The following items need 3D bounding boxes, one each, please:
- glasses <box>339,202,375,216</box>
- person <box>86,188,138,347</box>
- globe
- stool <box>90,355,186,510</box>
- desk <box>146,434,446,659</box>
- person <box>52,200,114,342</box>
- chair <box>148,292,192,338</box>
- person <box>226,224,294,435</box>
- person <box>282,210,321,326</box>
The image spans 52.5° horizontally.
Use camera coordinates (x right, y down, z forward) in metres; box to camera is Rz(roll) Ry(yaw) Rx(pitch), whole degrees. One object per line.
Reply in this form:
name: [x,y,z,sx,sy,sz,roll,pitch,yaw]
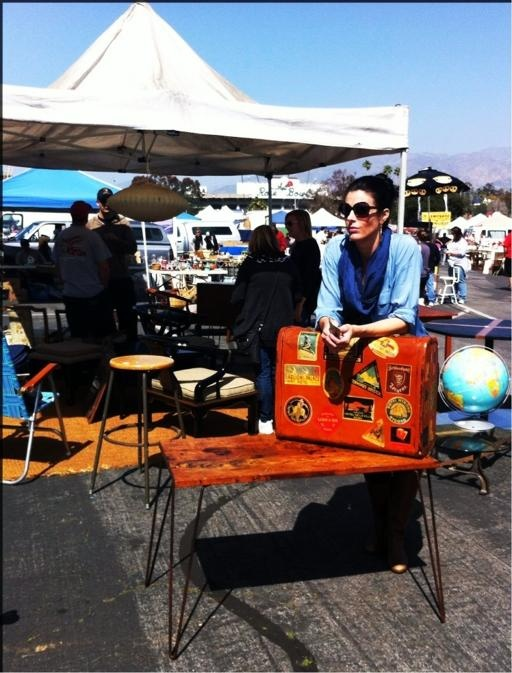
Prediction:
glasses: [0.413,-0.527,2.157,0.085,0.033,0.084,2,-1,42]
person: [-2.108,-0.836,7.484,0.774,2.392,0.726,2,10,11]
globe: [1.807,0.341,4.321,0.557,0.683,0.501,10,16,41]
stool: [-0.791,0.645,3.694,0.745,0.906,0.725,1,7,-1]
desk: [0.107,0.831,2.478,1.200,0.862,1.297,0,7,-18]
person: [-1.960,-0.749,5.882,0.598,1.558,0.462,-1,7,-20]
chair: [-1.319,-0.333,7.901,0.726,0.870,0.640,-5,11,-33]
person: [0.212,-0.087,4.836,0.629,2.018,0.722,-7,-6,26]
person: [0.517,-0.708,5.958,0.487,1.462,0.431,4,26,20]
